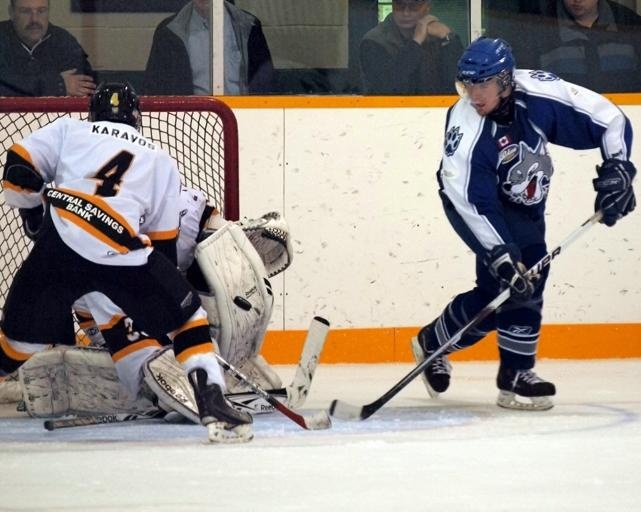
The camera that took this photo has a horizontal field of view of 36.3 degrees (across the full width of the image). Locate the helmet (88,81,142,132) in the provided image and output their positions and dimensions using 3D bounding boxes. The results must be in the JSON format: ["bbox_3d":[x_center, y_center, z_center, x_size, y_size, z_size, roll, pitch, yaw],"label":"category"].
[{"bbox_3d":[-0.706,-0.527,3.380,0.143,0.167,0.177,1,7,-11],"label":"helmet"}]

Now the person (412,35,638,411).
[{"bbox_3d":[0.724,-0.078,3.635,0.766,1.406,0.429,9,11,22],"label":"person"}]

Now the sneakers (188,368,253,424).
[{"bbox_3d":[-0.320,0.447,3.086,0.212,0.160,0.113,4,10,-2],"label":"sneakers"}]

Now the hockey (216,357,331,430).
[{"bbox_3d":[-0.174,0.499,3.485,0.340,0.049,0.042,37,46,7],"label":"hockey"}]

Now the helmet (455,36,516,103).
[{"bbox_3d":[0.594,-0.672,3.595,0.208,0.225,0.250,13,37,32],"label":"helmet"}]

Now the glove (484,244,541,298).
[{"bbox_3d":[0.679,0.046,3.476,0.207,0.130,0.082,49,12,8],"label":"glove"}]

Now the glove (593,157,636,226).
[{"bbox_3d":[1.036,-0.232,3.539,0.096,0.217,0.161,1,12,-20],"label":"glove"}]

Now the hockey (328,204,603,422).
[{"bbox_3d":[0.561,0.233,4.203,0.089,1.110,0.150,46,7,-22],"label":"hockey"}]
